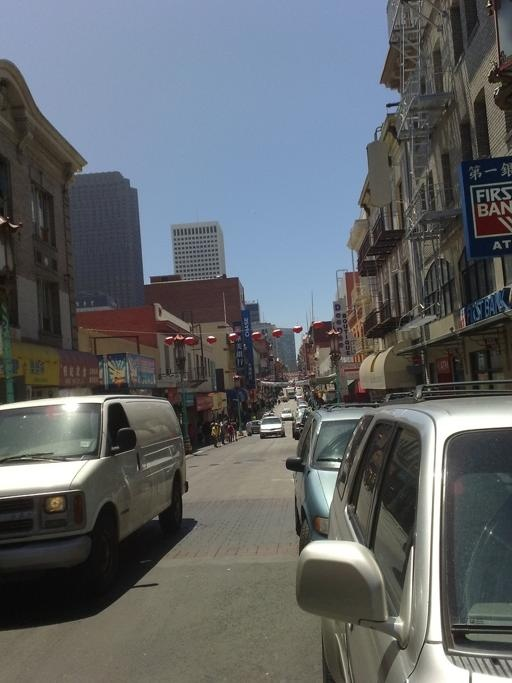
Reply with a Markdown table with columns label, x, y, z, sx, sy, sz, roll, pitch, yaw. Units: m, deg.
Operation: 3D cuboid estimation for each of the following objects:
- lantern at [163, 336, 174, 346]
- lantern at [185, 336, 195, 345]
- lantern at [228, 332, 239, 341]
| label | x | y | z | sx | sy | sz | roll | pitch | yaw |
| --- | --- | --- | --- | --- | --- | --- | --- | --- | --- |
| lantern | -5.740 | 0.010 | 34.796 | 0.809 | 0.429 | 1.221 | 0 | -1 | -1 |
| lantern | -5.312 | -0.053 | 41.548 | 0.490 | 0.608 | 0.650 | -3 | -25 | 7 |
| lantern | -1.690 | -0.327 | 37.927 | 0.816 | 0.393 | 1.220 | -3 | 1 | -5 |
